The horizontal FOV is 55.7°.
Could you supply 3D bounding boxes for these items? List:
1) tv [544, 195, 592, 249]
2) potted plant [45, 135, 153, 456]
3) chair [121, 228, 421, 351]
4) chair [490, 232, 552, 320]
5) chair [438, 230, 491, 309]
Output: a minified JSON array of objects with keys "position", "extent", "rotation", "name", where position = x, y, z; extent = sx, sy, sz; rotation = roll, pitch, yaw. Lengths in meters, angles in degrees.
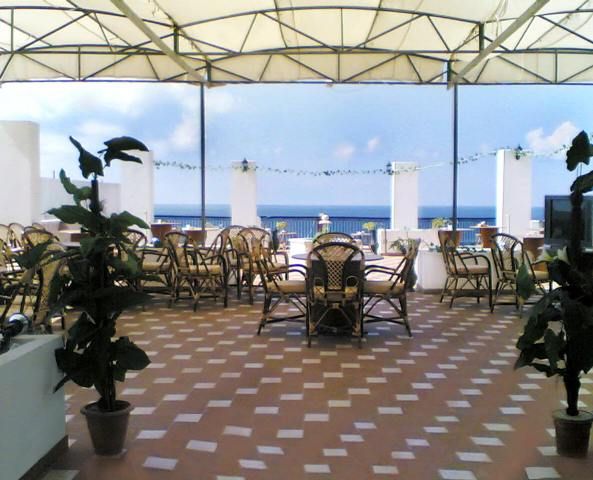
[{"position":[2.757,-0.179,5.660],"extent":[0.270,0.524,0.577],"rotation":[0,3,0],"name":"tv"},{"position":[-1.262,0.297,3.655],"extent":[0.609,1.900,1.213],"rotation":[-2,7,-20],"name":"potted plant"},{"position":[0.394,0.433,5.930],"extent":[1.609,1.067,1.988],"rotation":[0,7,-1],"name":"chair"},{"position":[2.726,0.345,6.778],"extent":[0.530,0.914,0.657],"rotation":[1,-4,1],"name":"chair"},{"position":[2.130,0.371,7.145],"extent":[0.539,0.969,0.562],"rotation":[-2,2,-1],"name":"chair"}]
